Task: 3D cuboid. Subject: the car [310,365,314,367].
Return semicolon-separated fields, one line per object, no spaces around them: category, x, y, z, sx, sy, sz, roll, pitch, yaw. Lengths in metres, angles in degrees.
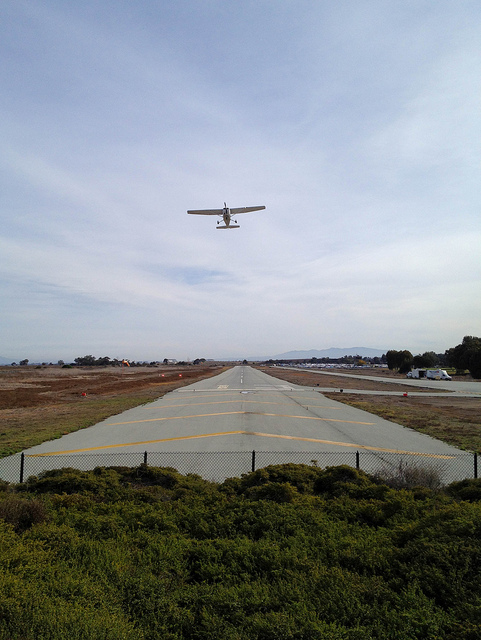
car;37.965;25.106;236.505;2.351;0.795;2.403;-1;1;6

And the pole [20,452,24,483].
pole;-6.162;4.261;12.432;0.069;0.656;0.619;3;-5;-28

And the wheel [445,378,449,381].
wheel;37.069;10.860;79.726;0.462;0.479;0.115;8;10;6

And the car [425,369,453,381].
car;36.544;10.481;82.295;3.367;1.699;7.060;0;-5;13
